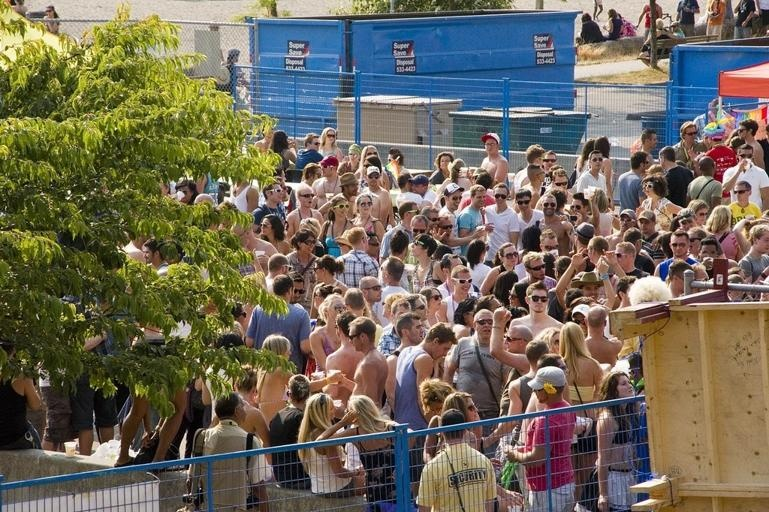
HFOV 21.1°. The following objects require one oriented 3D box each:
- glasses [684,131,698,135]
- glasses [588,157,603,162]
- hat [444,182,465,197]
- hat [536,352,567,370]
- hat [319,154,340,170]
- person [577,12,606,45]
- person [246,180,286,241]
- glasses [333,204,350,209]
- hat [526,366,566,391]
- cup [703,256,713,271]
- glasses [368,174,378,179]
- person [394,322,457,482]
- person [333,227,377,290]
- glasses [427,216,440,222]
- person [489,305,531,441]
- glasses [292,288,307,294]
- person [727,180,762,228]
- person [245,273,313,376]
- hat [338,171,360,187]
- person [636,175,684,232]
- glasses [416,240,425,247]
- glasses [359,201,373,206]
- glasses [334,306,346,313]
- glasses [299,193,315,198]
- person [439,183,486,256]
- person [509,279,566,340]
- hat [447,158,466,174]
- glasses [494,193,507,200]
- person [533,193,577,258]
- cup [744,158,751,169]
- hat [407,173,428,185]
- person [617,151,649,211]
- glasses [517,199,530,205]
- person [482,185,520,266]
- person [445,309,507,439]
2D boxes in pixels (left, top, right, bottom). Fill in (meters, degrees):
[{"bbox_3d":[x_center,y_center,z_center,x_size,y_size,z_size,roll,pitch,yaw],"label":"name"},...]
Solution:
[{"bbox_3d":[5.450,-2.224,36.727,0.101,0.077,0.327,-6,-5,35],"label":"glasses"},{"bbox_3d":[3.562,-1.678,34.790,0.202,0.082,0.108,-1,-4,-24],"label":"glasses"},{"bbox_3d":[1.082,-1.102,33.435,0.173,0.161,0.279,-8,-1,-37],"label":"hat"},{"bbox_3d":[2.189,1.394,27.474,0.248,0.242,0.196,-4,5,19],"label":"hat"},{"bbox_3d":[-0.979,-1.602,34.839,0.276,0.176,0.212,8,17,23],"label":"hat"},{"bbox_3d":[6.596,-7.336,65.999,0.849,1.074,2.275,-3,-4,6],"label":"person"},{"bbox_3d":[-1.805,-0.806,33.326,0.438,0.886,0.898,-8,-4,31],"label":"person"},{"bbox_3d":[-0.669,-0.802,32.326,0.270,0.100,0.126,-1,-4,-23],"label":"glasses"},{"bbox_3d":[2.139,1.607,27.153,0.397,0.235,0.282,2,6,4],"label":"hat"},{"bbox_3d":[4.703,0.090,30.191,0.147,0.239,0.598,-3,-4,8],"label":"cup"},{"bbox_3d":[-0.171,-1.330,33.629,0.174,0.094,0.166,-3,-4,-5],"label":"glasses"},{"bbox_3d":[0.551,2.117,28.387,0.722,2.404,0.732,-3,14,-18],"label":"person"},{"bbox_3d":[-0.436,0.044,31.143,0.742,1.061,0.548,2,13,15],"label":"person"},{"bbox_3d":[0.773,-0.597,32.421,0.175,0.106,0.042,1,-5,-41],"label":"glasses"},{"bbox_3d":[1.670,1.647,27.814,0.592,1.986,0.885,-3,-28,16],"label":"person"},{"bbox_3d":[-1.268,0.499,30.109,0.102,0.033,0.110,9,26,-18],"label":"glasses"},{"bbox_3d":[5.715,-0.840,32.791,0.698,0.752,0.417,3,7,26],"label":"person"},{"bbox_3d":[-1.484,1.310,29.744,0.946,2.161,0.688,5,11,12],"label":"person"},{"bbox_3d":[-0.587,-1.284,33.809,0.280,0.214,0.366,-3,-4,-5],"label":"hat"},{"bbox_3d":[4.413,-0.854,33.032,0.342,0.882,0.576,15,-29,-20],"label":"person"},{"bbox_3d":[0.522,-0.206,30.927,0.084,0.091,0.027,-2,-19,-6],"label":"glasses"},{"bbox_3d":[-0.286,-0.844,32.358,0.185,0.084,0.105,-1,-4,-21],"label":"glasses"},{"bbox_3d":[-0.619,0.737,29.033,0.105,0.119,0.037,1,-4,-2],"label":"glasses"},{"bbox_3d":[-1.220,-1.002,33.038,0.118,0.084,0.291,-5,-5,30],"label":"glasses"},{"bbox_3d":[1.236,-0.562,32.669,0.335,0.377,1.057,23,47,29],"label":"person"},{"bbox_3d":[2.140,0.782,29.087,0.823,0.866,0.453,1,-2,1],"label":"person"},{"bbox_3d":[1.215,-1.527,34.742,0.279,0.258,0.203,-19,24,-35],"label":"hat"},{"bbox_3d":[1.851,-0.974,32.818,0.208,0.114,0.137,-3,-4,-3],"label":"glasses"},{"bbox_3d":[2.638,-0.469,32.143,0.781,1.067,0.315,-12,-3,30],"label":"person"},{"bbox_3d":[5.941,-1.535,33.737,0.082,0.183,0.224,-6,-5,36],"label":"cup"},{"bbox_3d":[0.536,-1.332,34.785,0.356,0.188,0.266,8,23,3],"label":"hat"},{"bbox_3d":[4.211,-1.257,34.488,0.535,1.071,0.671,-11,23,-18],"label":"person"},{"bbox_3d":[2.179,-0.875,32.762,0.209,0.075,0.131,-4,-4,15],"label":"glasses"},{"bbox_3d":[1.847,-0.549,32.782,0.578,1.289,0.475,-4,-4,13],"label":"person"},{"bbox_3d":[1.275,1.999,28.468,0.858,2.419,0.562,6,8,16],"label":"person"}]
